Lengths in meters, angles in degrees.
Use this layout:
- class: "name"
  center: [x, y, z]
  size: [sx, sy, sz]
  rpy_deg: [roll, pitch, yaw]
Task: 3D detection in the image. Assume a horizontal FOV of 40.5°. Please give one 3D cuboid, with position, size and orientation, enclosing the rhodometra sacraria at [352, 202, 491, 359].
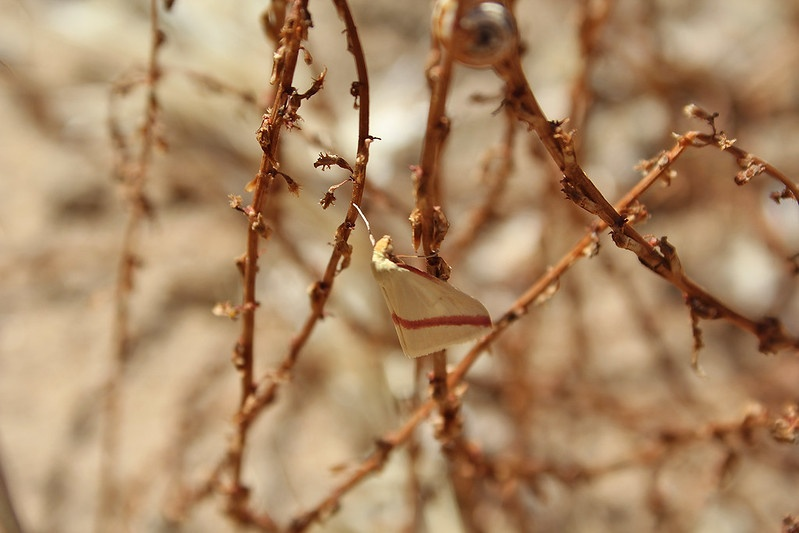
- class: "rhodometra sacraria"
  center: [0.026, 0.023, 2.050]
  size: [0.208, 0.078, 0.301]
  rpy_deg: [-27, 98, 11]
